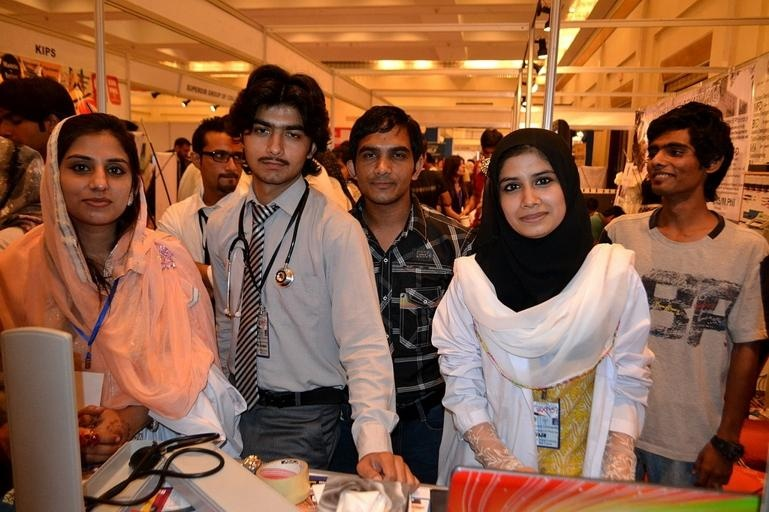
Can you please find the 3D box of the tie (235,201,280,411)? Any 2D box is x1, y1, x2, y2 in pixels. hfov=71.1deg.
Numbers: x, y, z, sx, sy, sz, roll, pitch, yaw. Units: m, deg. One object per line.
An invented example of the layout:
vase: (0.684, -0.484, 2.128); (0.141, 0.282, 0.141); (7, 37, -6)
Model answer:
tie: (-0.615, 0.206, 2.478); (0.163, 0.839, 0.038); (2, -13, -2)

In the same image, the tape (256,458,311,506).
tape: (-0.339, 0.735, 1.833); (0.170, 0.123, 0.133); (-6, 10, -36)

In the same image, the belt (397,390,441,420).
belt: (0.192, 0.795, 2.867); (0.151, 0.073, 0.202); (-14, -7, -8)
